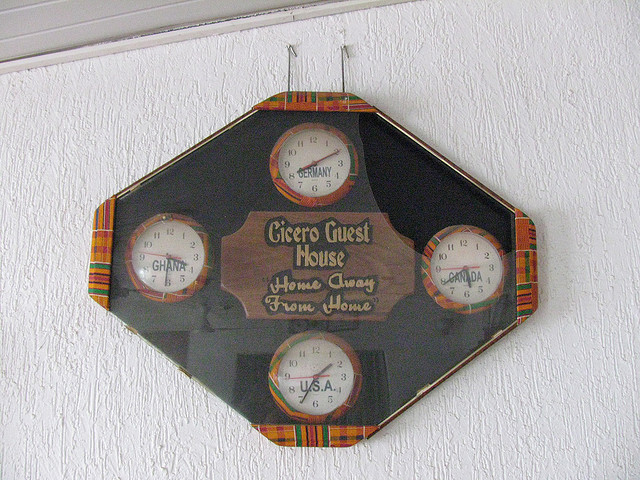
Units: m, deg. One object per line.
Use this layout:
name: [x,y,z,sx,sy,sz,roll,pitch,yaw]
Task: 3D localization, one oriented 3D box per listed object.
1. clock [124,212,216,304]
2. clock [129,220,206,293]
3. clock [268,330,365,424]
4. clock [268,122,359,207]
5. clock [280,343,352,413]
clock: [-0.394,0.046,3.293,0.223,0.223,0.223,0,89,5]
clock: [-0.401,0.053,3.292,0.187,0.037,0.186,3,88,1]
clock: [-0.003,0.373,3.256,0.242,0.033,0.234,0,81,1]
clock: [-0.016,-0.192,3.317,0.214,0.027,0.205,0,81,1]
clock: [-0.009,0.361,3.258,0.184,0.014,0.173,-12,79,0]
